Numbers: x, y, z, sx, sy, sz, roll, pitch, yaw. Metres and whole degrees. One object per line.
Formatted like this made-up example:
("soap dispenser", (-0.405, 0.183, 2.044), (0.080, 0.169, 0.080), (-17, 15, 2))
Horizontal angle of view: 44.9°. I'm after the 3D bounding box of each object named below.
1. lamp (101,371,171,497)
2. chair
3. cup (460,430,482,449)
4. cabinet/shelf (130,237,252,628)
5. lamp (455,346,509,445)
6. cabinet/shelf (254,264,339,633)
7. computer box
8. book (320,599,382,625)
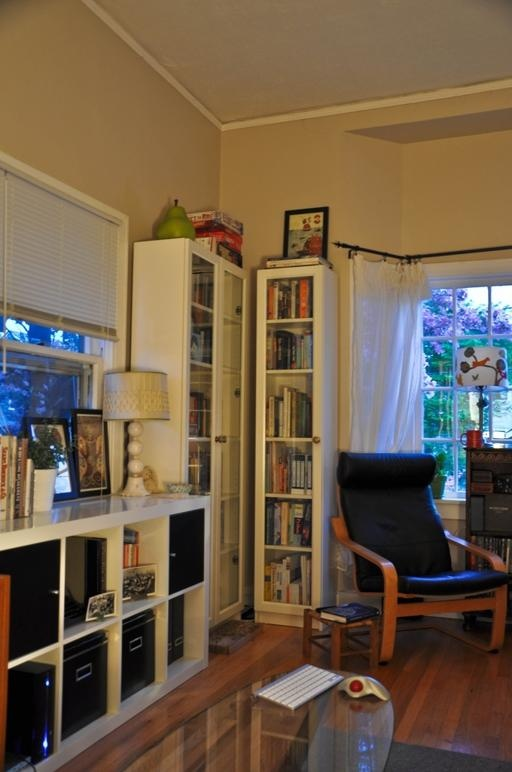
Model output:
("lamp", (-0.518, 0.211, 2.712), (0.294, 0.533, 0.353), (1, -5, -15))
("chair", (0.781, 0.808, 3.232), (0.781, 1.135, 1.012), (1, -8, -12))
("cup", (1.259, 0.317, 3.652), (0.139, 0.127, 0.091), (-2, -6, 41))
("cabinet/shelf", (-0.286, -0.041, 3.305), (0.245, 1.757, 0.744), (-14, -29, 22))
("lamp", (1.363, 0.060, 3.717), (0.300, 0.564, 0.326), (-2, -5, 18))
("cabinet/shelf", (0.234, 0.307, 3.573), (0.492, 2.042, 0.312), (-1, -5, 7))
("computer box", (-0.622, 0.914, 1.714), (0.126, 0.249, 0.084), (1, -5, -22))
("book", (0.405, 1.013, 2.750), (0.276, 0.056, 0.196), (3, -6, -38))
